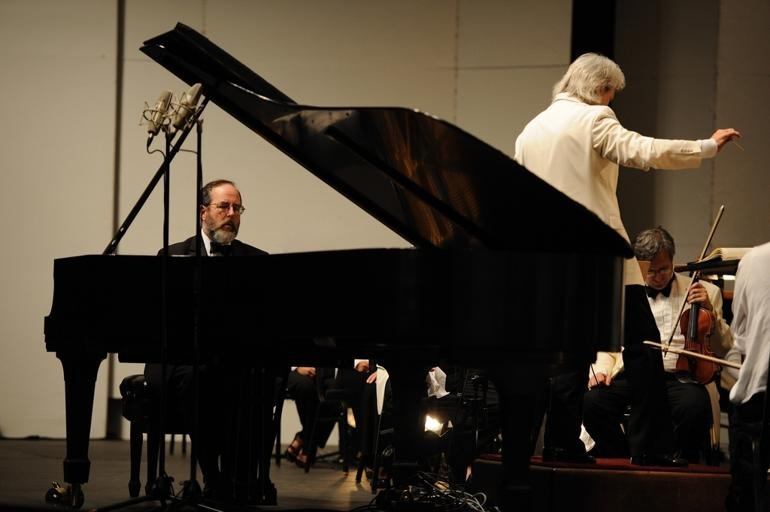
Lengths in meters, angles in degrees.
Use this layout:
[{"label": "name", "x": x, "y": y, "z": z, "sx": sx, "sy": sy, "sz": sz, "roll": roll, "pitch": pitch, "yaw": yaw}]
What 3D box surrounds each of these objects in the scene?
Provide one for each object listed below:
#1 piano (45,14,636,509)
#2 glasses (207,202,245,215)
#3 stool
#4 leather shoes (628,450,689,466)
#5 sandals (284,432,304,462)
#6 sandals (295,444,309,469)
[{"label": "piano", "x": -0.405, "y": 0.114, "z": 8.838, "sx": 4.550, "sy": 3.796, "sz": 2.982, "roll": -2, "pitch": -6, "yaw": 35}, {"label": "glasses", "x": -1.225, "y": -0.367, "z": 8.516, "sx": 0.138, "sy": 0.043, "sz": 0.139, "roll": 6, "pitch": -11, "yaw": -43}, {"label": "stool", "x": -1.609, "y": 1.240, "z": 8.267, "sx": 0.806, "sy": 0.924, "sz": 0.726, "roll": -5, "pitch": -5, "yaw": -4}, {"label": "leather shoes", "x": 1.949, "y": 1.416, "z": 7.866, "sx": 0.373, "sy": 0.141, "sz": 0.137, "roll": -2, "pitch": -4, "yaw": 0}, {"label": "sandals", "x": -0.777, "y": 1.630, "z": 9.426, "sx": 0.086, "sy": 0.250, "sz": 0.141, "roll": 4, "pitch": -8, "yaw": -4}, {"label": "sandals", "x": -0.694, "y": 1.689, "z": 9.249, "sx": 0.078, "sy": 0.103, "sz": 0.238, "roll": 2, "pitch": 1, "yaw": -1}]
